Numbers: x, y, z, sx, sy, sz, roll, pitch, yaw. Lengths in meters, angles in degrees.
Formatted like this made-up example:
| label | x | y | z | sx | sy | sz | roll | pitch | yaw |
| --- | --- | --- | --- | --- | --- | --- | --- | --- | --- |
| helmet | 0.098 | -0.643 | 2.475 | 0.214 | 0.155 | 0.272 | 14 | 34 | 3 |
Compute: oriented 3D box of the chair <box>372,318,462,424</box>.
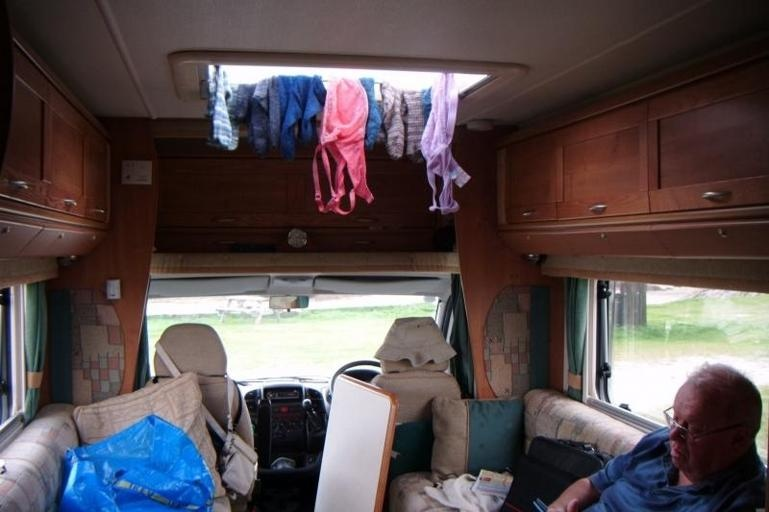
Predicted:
| label | x | y | z | sx | sy | sz | roll | pitch | yaw |
| --- | --- | --- | --- | --- | --- | --- | --- | --- | --- |
| chair | 0.240 | 0.797 | 4.253 | 0.624 | 0.697 | 0.669 | -1 | 9 | 13 |

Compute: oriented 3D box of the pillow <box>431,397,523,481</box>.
| label | x | y | z | sx | sy | sz | roll | pitch | yaw |
| --- | --- | --- | --- | --- | --- | --- | --- | --- | --- |
| pillow | 0.617 | 1.284 | 3.738 | 0.475 | 0.433 | 0.161 | 2 | -17 | -3 |

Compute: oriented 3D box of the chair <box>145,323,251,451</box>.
| label | x | y | z | sx | sy | sz | roll | pitch | yaw |
| --- | --- | --- | --- | --- | --- | --- | --- | --- | --- |
| chair | -1.339 | 1.093 | 3.942 | 0.672 | 1.024 | 1.093 | -6 | 0 | -19 |
